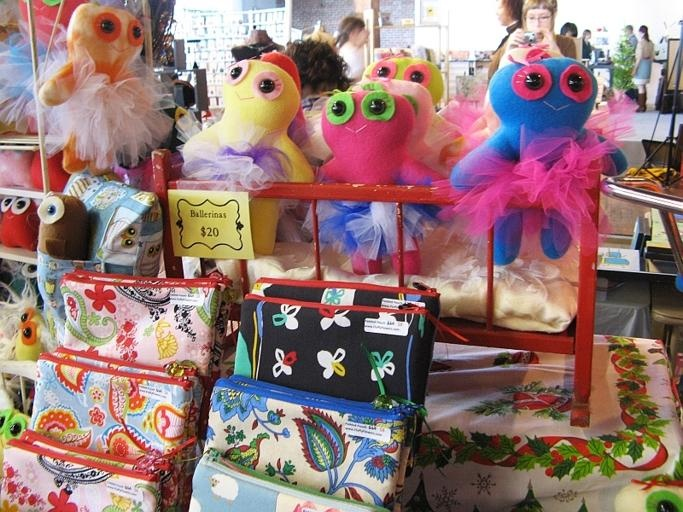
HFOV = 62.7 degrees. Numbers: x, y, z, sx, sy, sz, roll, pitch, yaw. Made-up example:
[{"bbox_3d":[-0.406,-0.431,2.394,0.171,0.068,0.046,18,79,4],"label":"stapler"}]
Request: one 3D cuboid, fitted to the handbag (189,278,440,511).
[{"bbox_3d":[-0.031,0.283,1.178,0.440,0.471,0.152,9,-4,19],"label":"handbag"}]
